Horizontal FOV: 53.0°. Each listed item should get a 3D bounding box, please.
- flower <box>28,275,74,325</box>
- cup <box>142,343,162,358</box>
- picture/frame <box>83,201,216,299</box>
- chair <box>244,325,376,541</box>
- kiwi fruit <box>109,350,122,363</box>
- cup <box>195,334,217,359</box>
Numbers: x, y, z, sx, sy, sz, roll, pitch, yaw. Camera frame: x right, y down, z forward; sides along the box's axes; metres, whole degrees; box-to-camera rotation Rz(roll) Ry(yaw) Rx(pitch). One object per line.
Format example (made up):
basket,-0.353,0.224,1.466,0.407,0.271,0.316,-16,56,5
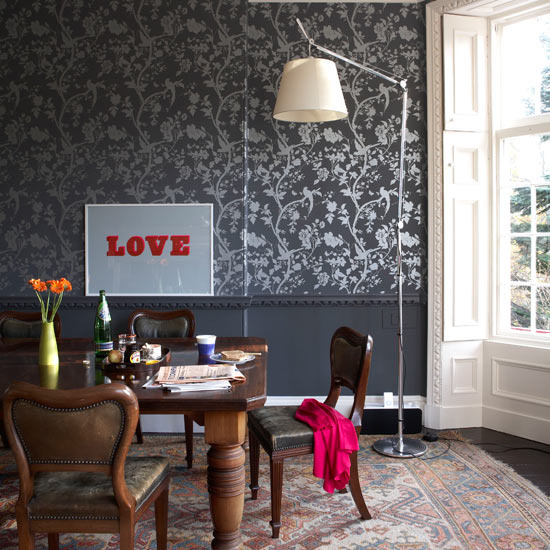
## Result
flower,-1.087,0.122,2.688,0.162,0.229,0.138,0,23,-23
cup,-0.570,0.358,2.601,0.076,0.047,0.075,4,-7,0
picture/frame,-0.891,-0.210,3.945,0.747,0.493,0.024,1,0,-1
chair,0.178,0.723,2.756,0.619,0.845,0.610,0,1,-24
kiwi fruit,-0.712,0.355,2.501,0.054,0.059,0.052,-3,30,-37
cup,-0.328,0.362,2.755,0.107,0.110,0.112,0,-6,0
